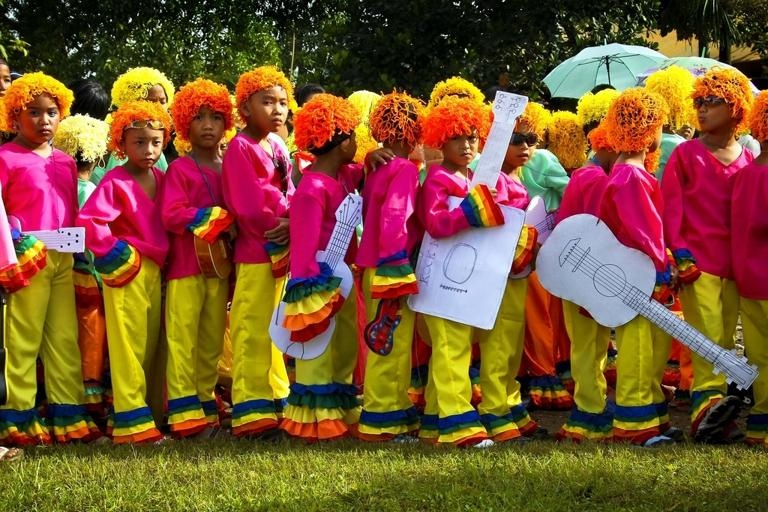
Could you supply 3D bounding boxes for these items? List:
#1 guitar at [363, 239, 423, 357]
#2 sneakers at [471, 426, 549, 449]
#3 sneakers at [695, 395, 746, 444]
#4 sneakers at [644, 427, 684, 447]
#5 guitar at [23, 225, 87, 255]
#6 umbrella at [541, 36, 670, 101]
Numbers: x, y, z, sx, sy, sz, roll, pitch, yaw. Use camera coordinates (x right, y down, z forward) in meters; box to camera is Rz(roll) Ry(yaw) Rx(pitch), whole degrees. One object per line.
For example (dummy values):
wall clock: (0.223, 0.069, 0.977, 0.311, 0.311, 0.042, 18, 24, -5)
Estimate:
guitar: (0.041, 0.344, 6.944, 0.420, 0.777, 0.137, -8, 30, -37)
sneakers: (1.008, 1.407, 7.182, 0.590, 0.079, 0.218, -11, 2, -9)
sneakers: (2.520, 1.236, 7.053, 0.137, 0.341, 0.166, 30, 30, -18)
sneakers: (2.132, 1.378, 7.060, 0.168, 0.055, 0.165, -13, 3, -10)
guitar: (-2.469, -0.117, 7.140, 0.458, 0.222, 0.200, 1, 14, 9)
umbrella: (2.549, -2.168, 10.976, 0.964, 0.669, 0.907, 5, -11, -36)
